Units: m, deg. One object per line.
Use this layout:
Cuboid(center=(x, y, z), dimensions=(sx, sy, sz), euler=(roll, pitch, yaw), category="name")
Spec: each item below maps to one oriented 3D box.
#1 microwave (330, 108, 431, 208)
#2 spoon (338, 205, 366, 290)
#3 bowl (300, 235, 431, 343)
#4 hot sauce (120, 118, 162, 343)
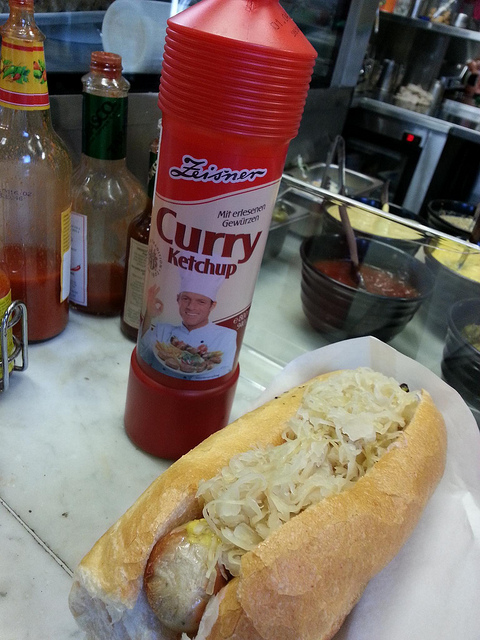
Cuboid(center=(0.712, -0.919, 2.714), dimensions=(0.340, 0.481, 0.328), euler=(23, 47, 0), category="microwave")
Cuboid(center=(0.151, -0.101, 0.708), dimensions=(0.022, 0.112, 0.017), euler=(-10, -5, -2), category="spoon")
Cuboid(center=(0.160, -0.035, 0.721), dimensions=(0.185, 0.104, 0.180), euler=(9, 32, -5), category="bowl")
Cuboid(center=(-0.109, -0.113, 0.654), dimensions=(0.062, 0.264, 0.060), euler=(3, 0, -26), category="hot sauce")
